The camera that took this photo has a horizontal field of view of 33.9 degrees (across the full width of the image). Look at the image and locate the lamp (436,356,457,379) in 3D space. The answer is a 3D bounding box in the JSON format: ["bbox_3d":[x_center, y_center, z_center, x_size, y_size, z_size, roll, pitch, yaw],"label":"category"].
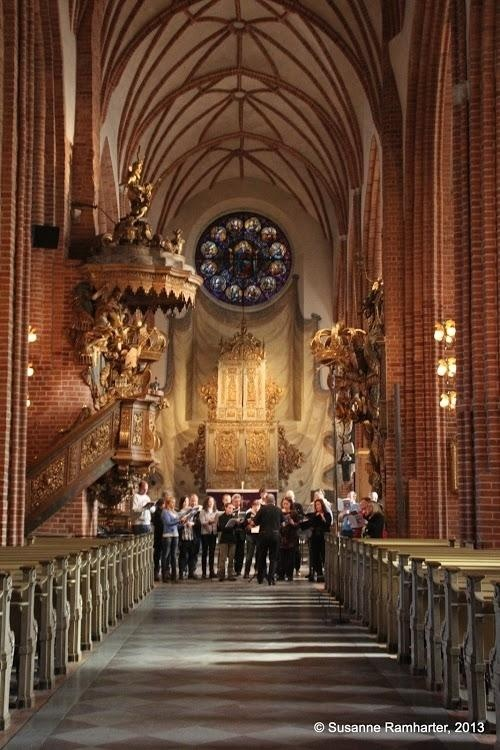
[{"bbox_3d":[3.297,-0.130,13.843,0.348,0.408,0.380,-2,3,1],"label":"lamp"}]

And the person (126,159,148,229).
[{"bbox_3d":[-1.948,-3.149,14.105,0.403,1.063,0.341,3,-10,-16],"label":"person"}]

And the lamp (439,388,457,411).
[{"bbox_3d":[3.385,0.444,14.101,0.332,0.511,0.191,4,2,20],"label":"lamp"}]
